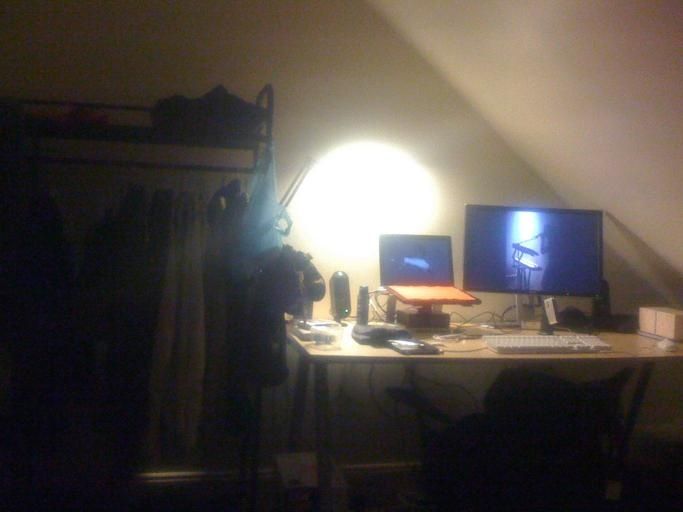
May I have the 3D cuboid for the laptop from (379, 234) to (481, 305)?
[{"bbox_3d":[0.397,0.077,2.971,0.373,0.295,0.386,-1,10,-14],"label":"laptop"}]

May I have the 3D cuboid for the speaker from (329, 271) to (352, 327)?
[{"bbox_3d":[-0.031,0.202,3.068,0.122,0.302,0.113,8,-22,-30],"label":"speaker"}]
